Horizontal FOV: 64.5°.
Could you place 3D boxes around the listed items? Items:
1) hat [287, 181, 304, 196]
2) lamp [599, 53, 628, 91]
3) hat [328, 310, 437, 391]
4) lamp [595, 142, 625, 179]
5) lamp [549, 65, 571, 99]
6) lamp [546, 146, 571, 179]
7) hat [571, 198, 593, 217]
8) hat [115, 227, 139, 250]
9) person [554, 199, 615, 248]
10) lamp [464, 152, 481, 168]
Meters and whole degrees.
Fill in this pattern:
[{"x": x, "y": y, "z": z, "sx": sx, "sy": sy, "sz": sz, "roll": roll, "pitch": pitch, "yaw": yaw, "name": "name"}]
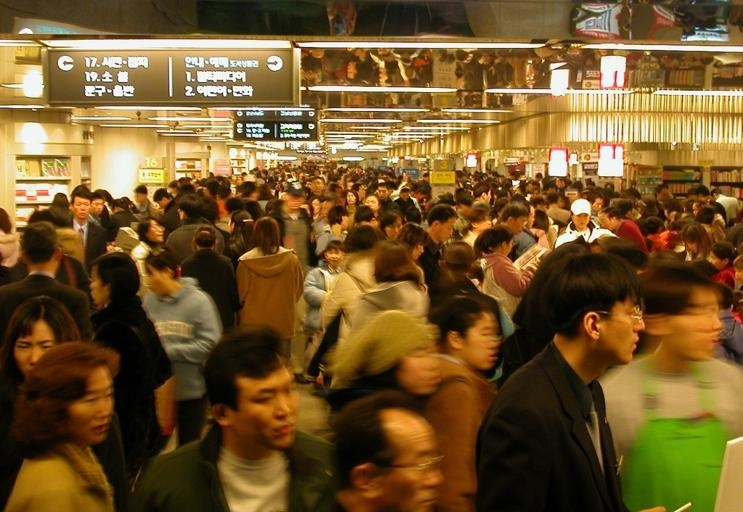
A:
[{"x": -0.925, "y": -0.811, "z": 7.095, "sx": 0.224, "sy": 0.123, "sz": 0.315, "roll": 0, "pitch": 2, "yaw": -14, "name": "hat"}, {"x": 3.577, "y": -2.738, "z": 8.794, "sx": 0.420, "sy": 0.478, "sz": 0.432, "roll": -1, "pitch": 9, "yaw": 8, "name": "lamp"}, {"x": 0.024, "y": 0.425, "z": 2.591, "sx": 0.409, "sy": 0.203, "sz": 0.315, "roll": -30, "pitch": -15, "yaw": 37, "name": "hat"}, {"x": 5.729, "y": -2.291, "z": 14.044, "sx": 0.652, "sy": 0.711, "sz": 0.403, "roll": 1, "pitch": 7, "yaw": -5, "name": "lamp"}, {"x": 2.856, "y": -2.619, "z": 8.919, "sx": 0.322, "sy": 0.604, "sz": 0.324, "roll": -1, "pitch": 6, "yaw": 0, "name": "lamp"}, {"x": 4.916, "y": -2.465, "z": 15.432, "sx": 0.462, "sy": 0.681, "sz": 0.640, "roll": 2, "pitch": 7, "yaw": 12, "name": "lamp"}, {"x": 2.858, "y": -0.664, "z": 8.035, "sx": 0.218, "sy": 0.178, "sz": 0.305, "roll": 0, "pitch": 1, "yaw": 8, "name": "hat"}, {"x": -2.657, "y": -0.186, "z": 6.384, "sx": 0.188, "sy": 0.295, "sz": 0.281, "roll": 11, "pitch": -6, "yaw": -34, "name": "hat"}, {"x": 2.855, "y": -0.429, "z": 8.014, "sx": 1.046, "sy": 0.549, "sz": 0.471, "roll": -3, "pitch": -9, "yaw": 16, "name": "person"}, {"x": 4.861, "y": -4.700, "z": 29.375, "sx": 0.942, "sy": 0.893, "sz": 0.231, "roll": 0, "pitch": -2, "yaw": -14, "name": "lamp"}]
